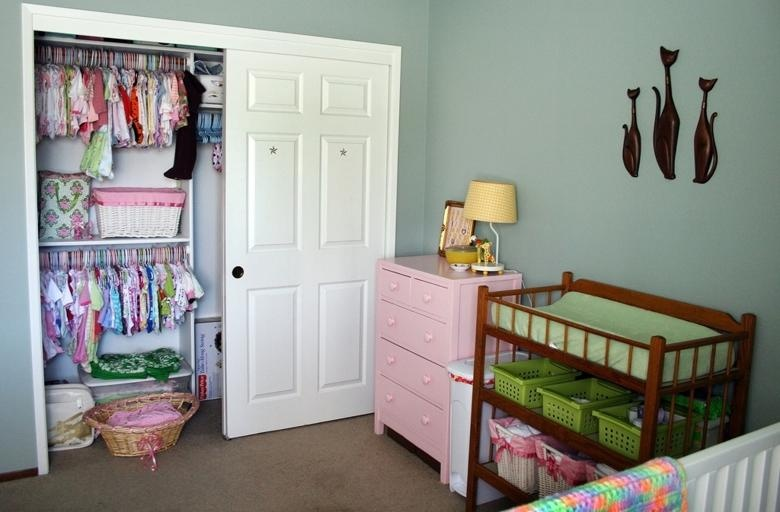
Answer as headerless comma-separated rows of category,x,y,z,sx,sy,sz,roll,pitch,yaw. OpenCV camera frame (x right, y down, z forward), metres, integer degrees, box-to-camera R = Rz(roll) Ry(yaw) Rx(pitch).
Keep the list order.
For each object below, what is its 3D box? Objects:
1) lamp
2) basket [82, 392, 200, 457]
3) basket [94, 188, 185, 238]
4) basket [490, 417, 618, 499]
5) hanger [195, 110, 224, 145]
lamp,0.667,-0.210,3.668,0.287,0.549,0.333,9,15,41
basket,-1.696,0.986,3.852,0.546,0.211,0.381,-5,14,-33
basket,-1.746,-0.309,4.013,0.546,0.297,0.359,-5,13,-27
basket,0.788,1.050,2.957,0.329,0.217,0.437,-2,7,-31
hanger,-1.315,-0.953,4.190,0.250,0.257,0.094,-1,12,-21
